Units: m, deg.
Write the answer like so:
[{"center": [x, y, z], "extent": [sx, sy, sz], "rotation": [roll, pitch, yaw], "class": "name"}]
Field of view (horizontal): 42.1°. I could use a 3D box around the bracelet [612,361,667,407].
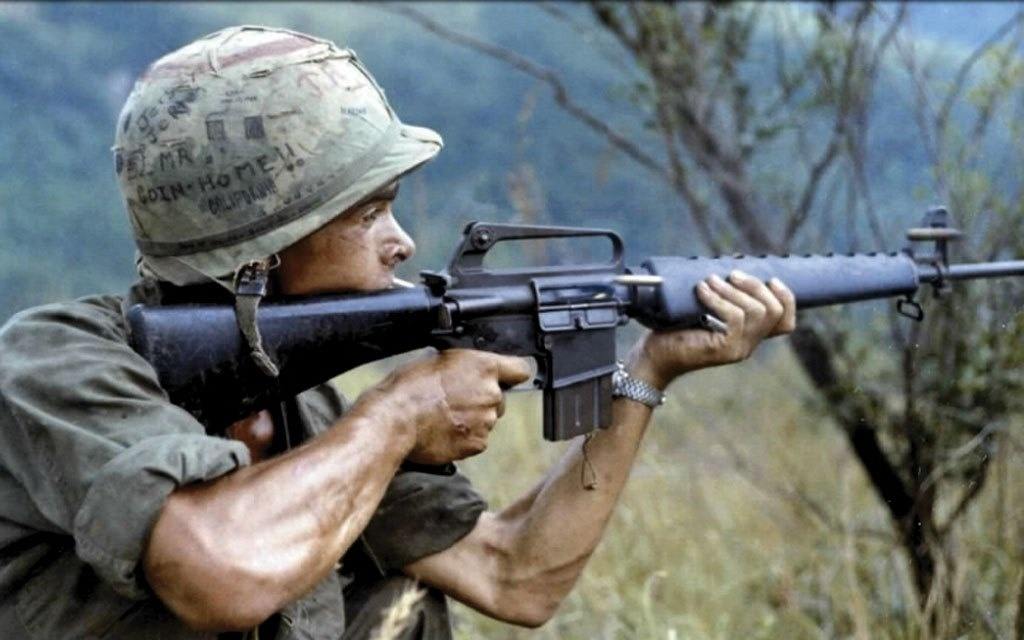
[{"center": [0.553, 0.305, 5.966], "extent": [0.227, 0.126, 0.179], "rotation": [29, 5, 3], "class": "bracelet"}]
